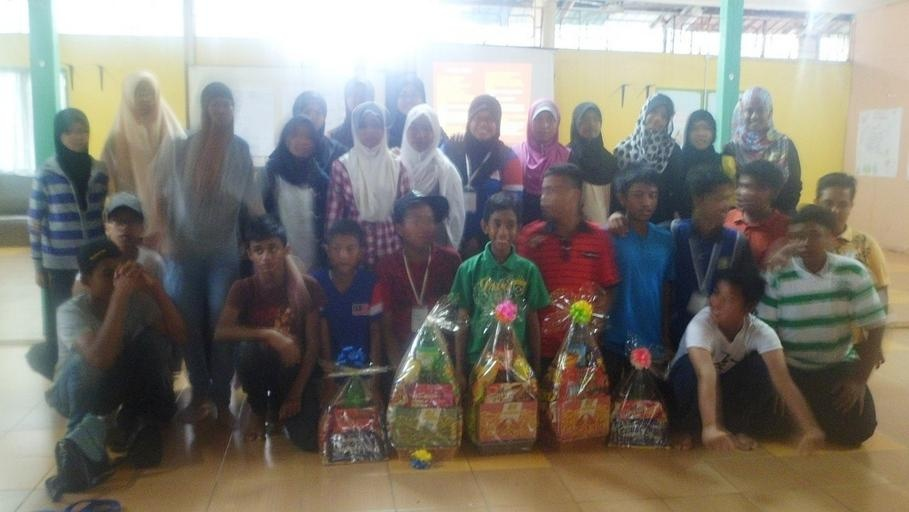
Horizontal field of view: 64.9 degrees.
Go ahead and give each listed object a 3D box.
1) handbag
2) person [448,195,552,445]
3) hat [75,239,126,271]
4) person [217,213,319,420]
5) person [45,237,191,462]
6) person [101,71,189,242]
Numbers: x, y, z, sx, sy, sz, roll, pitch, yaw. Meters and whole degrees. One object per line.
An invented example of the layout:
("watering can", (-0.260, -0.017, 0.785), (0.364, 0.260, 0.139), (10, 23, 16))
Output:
("handbag", (-2.045, 1.131, 4.036), (0.328, 0.406, 0.193), (7, -10, 26))
("person", (0.277, 0.359, 4.296), (0.611, 1.433, 0.629), (-1, 12, 2))
("hat", (-2.127, 0.027, 4.366), (0.181, 0.212, 0.230), (12, -21, -3))
("person", (-1.128, 0.375, 4.367), (0.574, 1.205, 0.383), (4, 14, 25))
("person", (-2.043, 0.536, 4.197), (0.707, 1.224, 0.514), (0, 12, 5))
("person", (-1.880, -0.610, 4.326), (0.470, 0.970, 0.147), (-6, 13, -20))
